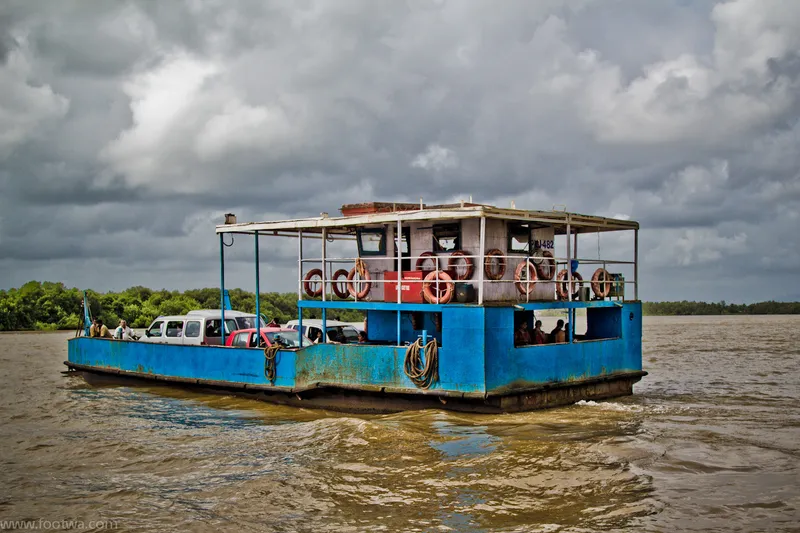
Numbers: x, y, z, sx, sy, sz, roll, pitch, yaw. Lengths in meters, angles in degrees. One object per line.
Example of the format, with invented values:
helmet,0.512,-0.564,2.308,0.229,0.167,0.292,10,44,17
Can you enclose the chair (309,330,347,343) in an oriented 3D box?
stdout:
chair,-2.711,2.520,26.053,1.102,0.608,0.671,-4,-4,21

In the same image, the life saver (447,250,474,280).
life saver,1.872,-0.035,22.121,0.708,0.875,0.321,12,6,34

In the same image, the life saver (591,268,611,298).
life saver,6.313,0.555,22.856,0.877,1.062,0.257,-2,0,-42

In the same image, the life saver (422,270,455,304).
life saver,1.116,0.612,21.545,0.892,0.996,0.375,5,3,39

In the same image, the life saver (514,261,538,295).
life saver,3.852,0.376,22.236,0.216,1.158,0.966,0,0,42

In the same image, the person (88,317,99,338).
person,-12.520,2.491,29.764,0.303,0.804,0.547,5,1,18

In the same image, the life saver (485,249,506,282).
life saver,2.838,-0.023,21.916,0.267,0.836,0.844,-4,20,27

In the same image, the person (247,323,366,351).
person,-3.288,2.447,25.534,2.895,1.078,1.479,-7,-6,26
